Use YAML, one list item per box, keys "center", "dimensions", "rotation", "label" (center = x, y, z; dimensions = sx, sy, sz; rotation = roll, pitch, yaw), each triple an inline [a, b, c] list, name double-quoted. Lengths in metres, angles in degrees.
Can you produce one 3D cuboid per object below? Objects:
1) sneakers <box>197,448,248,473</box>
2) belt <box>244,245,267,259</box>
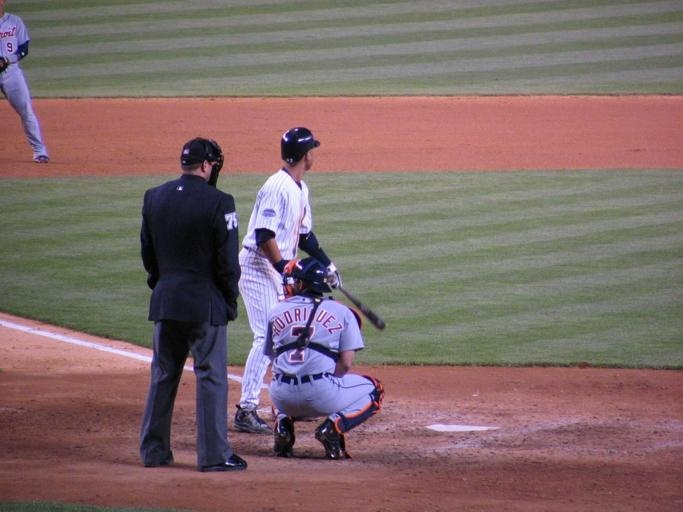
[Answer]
- center: [-1.564, 2.700, 20.827]
  dimensions: [0.617, 0.184, 0.240]
  rotation: [-2, 2, -8]
  label: "sneakers"
- center: [-1.192, -0.049, 21.781]
  dimensions: [0.237, 0.149, 0.152]
  rotation: [-8, 17, -12]
  label: "belt"
